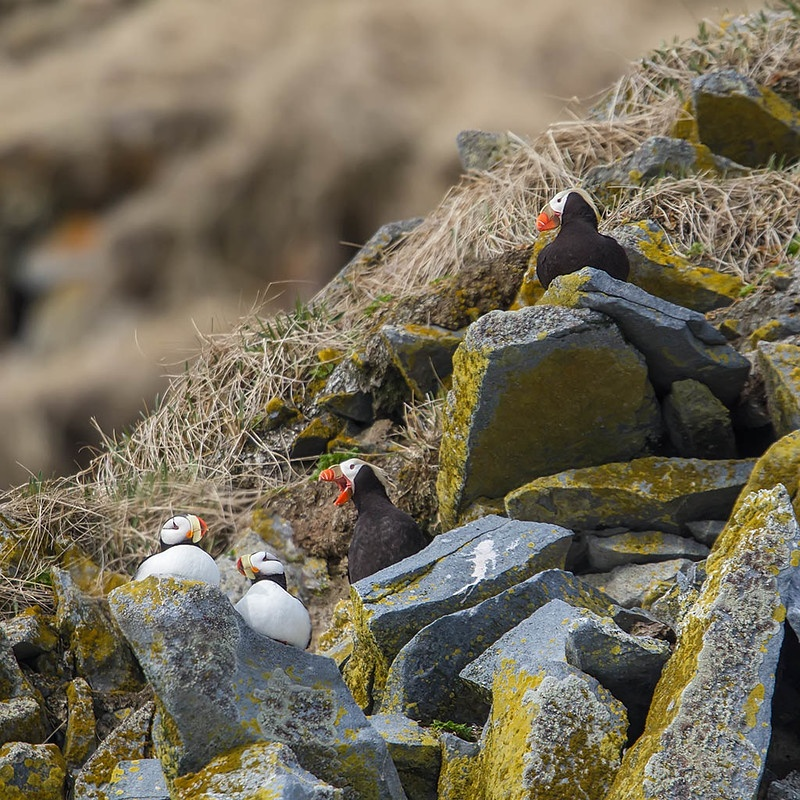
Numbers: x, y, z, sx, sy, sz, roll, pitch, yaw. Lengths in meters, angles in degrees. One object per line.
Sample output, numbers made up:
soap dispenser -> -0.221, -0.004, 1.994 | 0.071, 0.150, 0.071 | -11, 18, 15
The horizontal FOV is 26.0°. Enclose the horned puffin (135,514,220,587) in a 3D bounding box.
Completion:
horned puffin -> -1.197, 0.831, 8.900 | 0.518, 0.449, 0.381 | -11, -10, 31

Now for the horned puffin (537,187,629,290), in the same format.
horned puffin -> 0.990, -0.794, 9.259 | 0.486, 0.691, 0.480 | 0, 0, -39

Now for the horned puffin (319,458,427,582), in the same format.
horned puffin -> -0.106, 0.740, 9.073 | 0.487, 0.890, 0.392 | 8, -27, -30
